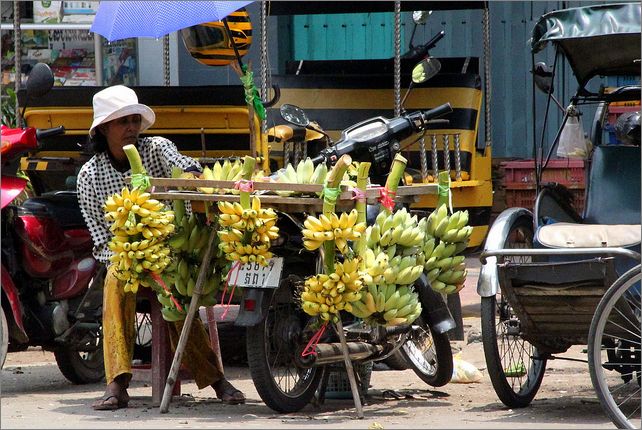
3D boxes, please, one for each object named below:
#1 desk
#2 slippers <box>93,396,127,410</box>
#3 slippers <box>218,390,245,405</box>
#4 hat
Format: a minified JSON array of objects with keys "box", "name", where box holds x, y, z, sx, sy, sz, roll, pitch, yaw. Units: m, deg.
[{"box":[-0.200,0.393,9.153,3.174,2.250,1.707,0,2,3],"name":"desk"},{"box":[-1.671,1.505,8.618,0.100,0.070,0.259,-9,-17,41],"name":"slippers"},{"box":[-0.717,1.485,8.779,0.221,0.087,0.054,4,-14,16],"name":"slippers"},{"box":[-1.658,-0.911,8.878,0.399,0.267,0.493,-32,-25,32],"name":"hat"}]
